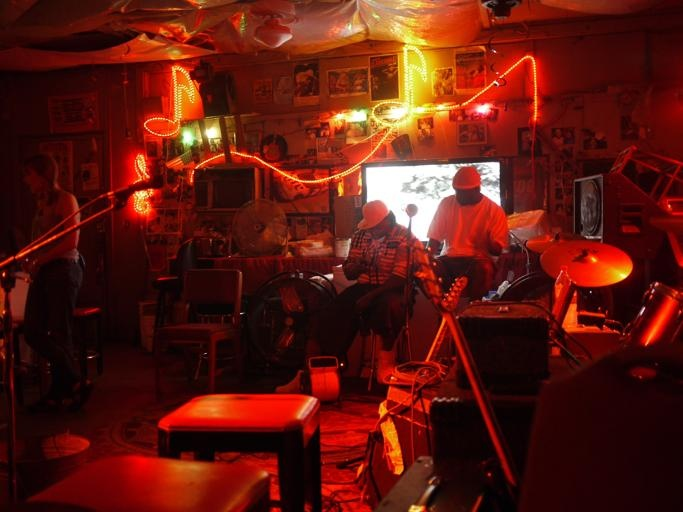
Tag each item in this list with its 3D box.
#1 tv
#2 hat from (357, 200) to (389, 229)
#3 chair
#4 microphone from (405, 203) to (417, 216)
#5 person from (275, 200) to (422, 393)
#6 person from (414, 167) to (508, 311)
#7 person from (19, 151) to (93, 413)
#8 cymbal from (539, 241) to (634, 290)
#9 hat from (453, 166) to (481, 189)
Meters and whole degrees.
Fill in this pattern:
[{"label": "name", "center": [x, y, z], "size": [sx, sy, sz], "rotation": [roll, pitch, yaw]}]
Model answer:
[{"label": "tv", "center": [0.900, -0.483, 5.636], "size": [0.995, 0.613, 0.099], "rotation": [0, -4, 12]}, {"label": "hat", "center": [0.248, -0.337, 4.982], "size": [0.255, 0.134, 0.197], "rotation": [-29, 25, 0]}, {"label": "chair", "center": [-1.112, 0.603, 4.953], "size": [0.618, 0.958, 0.676], "rotation": [0, 0, 31]}, {"label": "microphone", "center": [0.362, -0.238, 3.195], "size": [0.057, 0.081, 0.058], "rotation": [3, 15, 14]}, {"label": "person", "center": [0.216, 0.191, 4.965], "size": [0.665, 1.252, 0.626], "rotation": [3, 9, 18]}, {"label": "person", "center": [1.011, -0.207, 5.130], "size": [0.682, 1.045, 0.659], "rotation": [4, 9, 24]}, {"label": "person", "center": [-2.102, 0.202, 4.558], "size": [0.423, 1.880, 0.890], "rotation": [-4, 9, -24]}, {"label": "cymbal", "center": [1.510, 0.043, 3.845], "size": [0.460, 0.250, 0.401], "rotation": [-3, 9, -18]}, {"label": "hat", "center": [1.027, -0.657, 5.167], "size": [0.181, 0.127, 0.222], "rotation": [-5, 5, -30]}]
